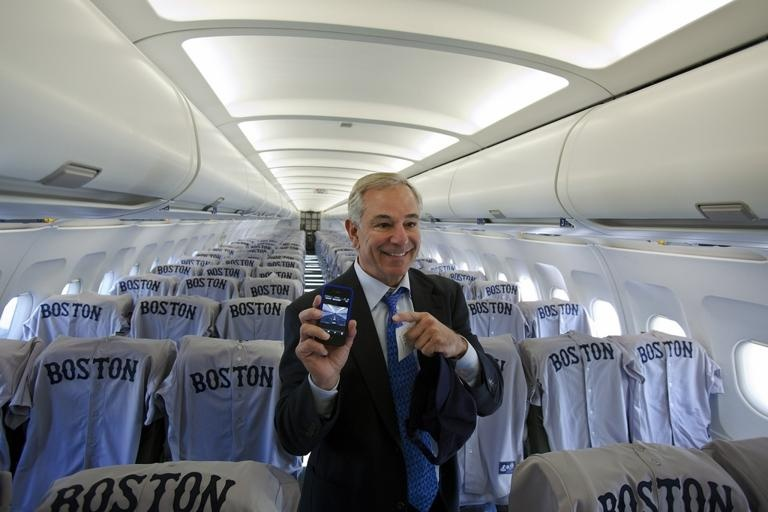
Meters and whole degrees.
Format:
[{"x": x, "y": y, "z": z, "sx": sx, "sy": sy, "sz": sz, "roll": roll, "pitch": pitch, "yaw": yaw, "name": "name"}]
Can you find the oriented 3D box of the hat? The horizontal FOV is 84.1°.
[{"x": 0.391, "y": 0.945, "z": 2.735, "sx": 0.530, "sy": 0.671, "sz": 0.243, "roll": 27, "pitch": -26, "yaw": -34, "name": "hat"}]
